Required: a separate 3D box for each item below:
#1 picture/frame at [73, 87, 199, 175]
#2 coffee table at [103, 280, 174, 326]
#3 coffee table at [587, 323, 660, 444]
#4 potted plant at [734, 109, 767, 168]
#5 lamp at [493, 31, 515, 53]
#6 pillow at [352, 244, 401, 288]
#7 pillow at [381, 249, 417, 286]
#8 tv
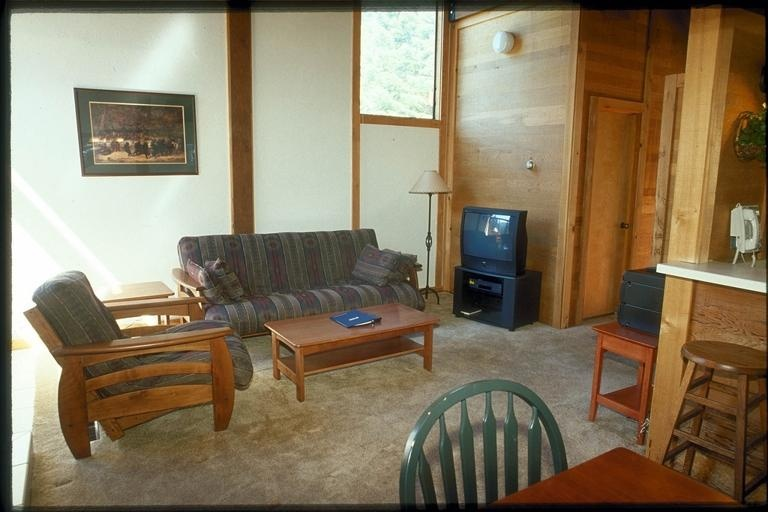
[{"bbox_3d":[-2.398,-1.197,5.095,1.011,0.658,0.038,-4,10,-26],"label":"picture/frame"},{"bbox_3d":[-2.128,0.309,4.613,0.492,0.405,0.409,-7,14,-32],"label":"coffee table"},{"bbox_3d":[1.678,0.821,3.712,0.411,0.708,0.526,8,17,40],"label":"coffee table"},{"bbox_3d":[2.144,-0.703,3.156,0.154,0.296,0.312,4,15,30],"label":"potted plant"},{"bbox_3d":[1.273,-2.295,5.787,0.147,0.225,0.270,-12,15,-32],"label":"lamp"},{"bbox_3d":[-0.062,0.110,5.496,0.423,0.389,0.179,13,-17,32],"label":"pillow"},{"bbox_3d":[0.157,0.121,5.482,0.363,0.319,0.167,7,-7,-9],"label":"pillow"},{"bbox_3d":[1.135,-0.139,5.494,0.450,0.669,0.776,-3,4,-39],"label":"tv"}]
